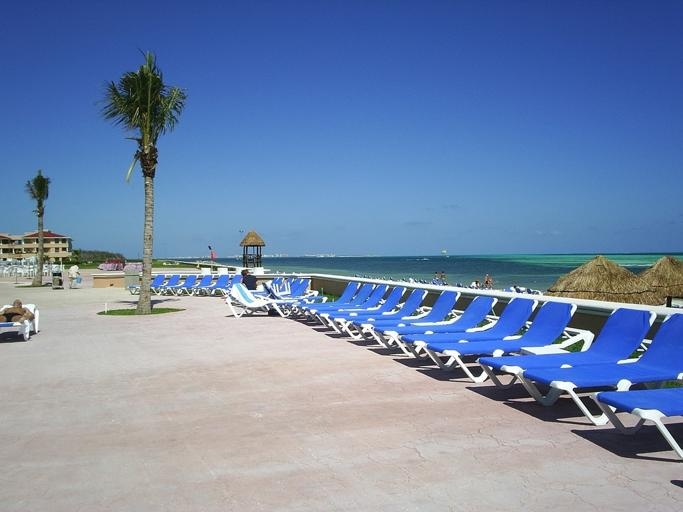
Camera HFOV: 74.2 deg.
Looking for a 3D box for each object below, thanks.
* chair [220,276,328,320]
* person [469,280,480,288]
[{"bbox_3d":[-2.174,1.201,12.794,2.372,0.664,1.248,1,5,-7],"label":"chair"},{"bbox_3d":[11.832,2.517,39.932,0.649,0.545,1.675,-18,-1,20],"label":"person"}]
